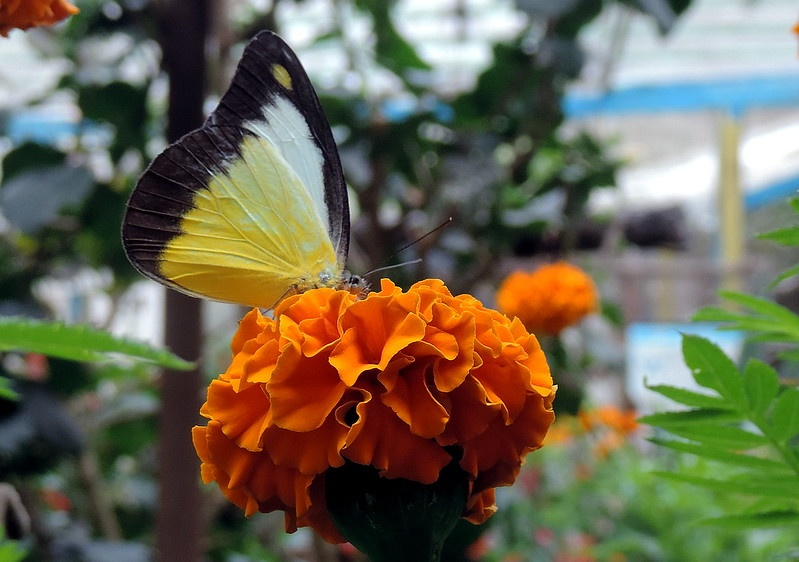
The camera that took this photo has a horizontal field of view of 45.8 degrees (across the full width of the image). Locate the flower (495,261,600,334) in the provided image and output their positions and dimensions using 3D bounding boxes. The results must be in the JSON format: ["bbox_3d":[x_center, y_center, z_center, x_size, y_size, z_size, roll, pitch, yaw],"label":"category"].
[{"bbox_3d":[0.493,0.062,3.126,0.272,0.273,0.219,-4,104,5],"label":"flower"}]

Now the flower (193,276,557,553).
[{"bbox_3d":[-0.077,0.273,2.259,0.833,0.905,0.486,-17,89,-34],"label":"flower"}]
